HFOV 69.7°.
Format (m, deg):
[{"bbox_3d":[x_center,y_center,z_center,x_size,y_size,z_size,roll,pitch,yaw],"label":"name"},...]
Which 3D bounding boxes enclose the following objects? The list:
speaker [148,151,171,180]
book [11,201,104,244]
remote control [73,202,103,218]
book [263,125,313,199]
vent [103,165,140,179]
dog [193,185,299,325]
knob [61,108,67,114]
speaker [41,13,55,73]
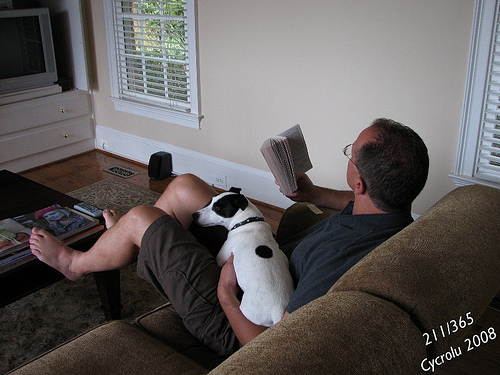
[{"bbox_3d":[-0.925,-0.218,3.702,0.148,0.279,0.211,19,34,29],"label":"speaker"},{"bbox_3d":[-1.074,0.213,1.935,0.338,0.079,0.364,20,22,14],"label":"book"},{"bbox_3d":[-0.964,0.120,2.136,0.180,0.038,0.084,22,22,29],"label":"remote control"},{"bbox_3d":[0.172,-0.115,1.577,0.100,0.281,0.282,8,39,35],"label":"book"},{"bbox_3d":[-1.376,-0.167,3.861,0.381,0.027,0.186,21,32,25],"label":"vent"},{"bbox_3d":[0.010,0.298,1.452,0.243,0.335,0.677,-2,36,-27],"label":"dog"},{"bbox_3d":[-2.037,-0.842,3.933,0.043,0.064,0.020,-2,14,-11],"label":"knob"},{"bbox_3d":[-2.085,-1.490,3.731,0.092,0.563,0.082,-20,36,-39],"label":"speaker"}]
